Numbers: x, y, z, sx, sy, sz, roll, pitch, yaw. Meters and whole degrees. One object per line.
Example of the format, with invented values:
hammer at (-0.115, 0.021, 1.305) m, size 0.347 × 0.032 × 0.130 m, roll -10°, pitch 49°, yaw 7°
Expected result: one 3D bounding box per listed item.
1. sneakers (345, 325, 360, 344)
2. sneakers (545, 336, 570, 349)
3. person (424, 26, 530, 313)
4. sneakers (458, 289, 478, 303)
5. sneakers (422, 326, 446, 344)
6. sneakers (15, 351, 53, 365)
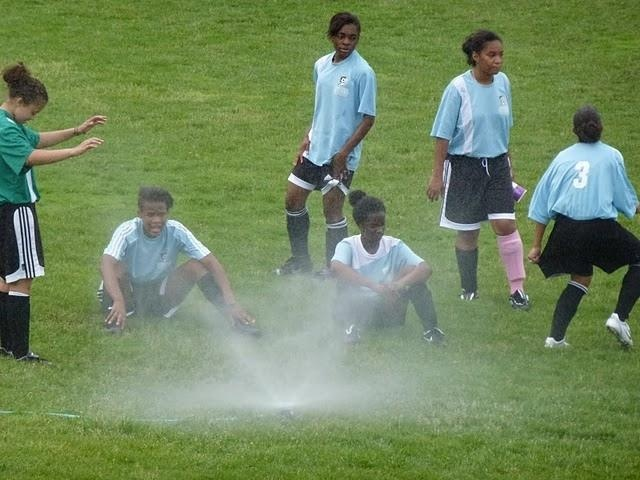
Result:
sneakers at (0.356, 1.078, 14.319) m, size 0.157 × 0.202 × 0.082 m, roll 1°, pitch -6°, yaw -9°
sneakers at (2.707, 1.167, 14.212) m, size 0.298 × 0.122 × 0.108 m, roll 4°, pitch 9°, yaw -15°
person at (1.874, -0.833, 14.821) m, size 1.181 × 3.248 × 0.658 m, roll 3°, pitch 18°, yaw 4°
sneakers at (1.803, 0.682, 15.264) m, size 0.202 × 0.197 × 0.124 m, roll -1°, pitch 4°, yaw 21°
sneakers at (1.294, 1.099, 14.327) m, size 0.151 × 0.109 × 0.234 m, roll -2°, pitch 2°, yaw -11°
sneakers at (-3.174, 1.316, 13.872) m, size 0.413 × 0.156 × 0.137 m, roll 1°, pitch 6°, yaw -9°
